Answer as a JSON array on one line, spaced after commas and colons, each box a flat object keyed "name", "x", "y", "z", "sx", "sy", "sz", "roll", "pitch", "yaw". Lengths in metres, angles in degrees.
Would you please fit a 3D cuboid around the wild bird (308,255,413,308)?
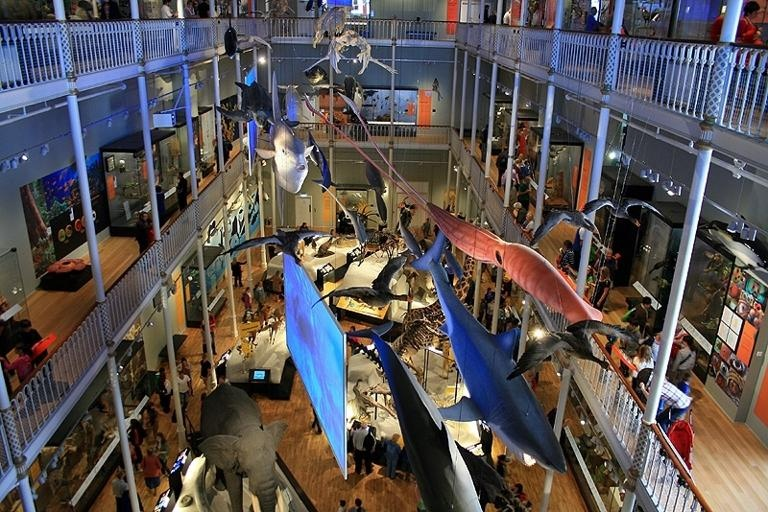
[{"name": "wild bird", "x": -0.210, "y": 0.499, "z": 9.404, "sx": 0.740, "sy": 0.763, "sz": 3.303, "roll": -5, "pitch": 11, "yaw": -27}]

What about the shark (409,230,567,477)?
[{"name": "shark", "x": 1.717, "y": 1.931, "z": 8.428, "sx": 1.401, "sy": 1.159, "sz": 4.509, "roll": -16, "pitch": 55, "yaw": -10}]

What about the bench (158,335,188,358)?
[{"name": "bench", "x": -7.952, "y": 3.257, "z": 19.893, "sx": 0.563, "sy": 0.354, "sz": 1.447, "roll": 5, "pitch": 47, "yaw": -3}]

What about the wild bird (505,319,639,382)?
[{"name": "wild bird", "x": 2.679, "y": 1.464, "z": 7.741, "sx": 1.977, "sy": 1.010, "sz": 0.625, "roll": -7, "pitch": 24, "yaw": -18}]

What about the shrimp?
[{"name": "shrimp", "x": 1.168, "y": -0.736, "z": 9.645, "sx": 1.152, "sy": 0.913, "sz": 6.338, "roll": 9, "pitch": 21, "yaw": -42}]
